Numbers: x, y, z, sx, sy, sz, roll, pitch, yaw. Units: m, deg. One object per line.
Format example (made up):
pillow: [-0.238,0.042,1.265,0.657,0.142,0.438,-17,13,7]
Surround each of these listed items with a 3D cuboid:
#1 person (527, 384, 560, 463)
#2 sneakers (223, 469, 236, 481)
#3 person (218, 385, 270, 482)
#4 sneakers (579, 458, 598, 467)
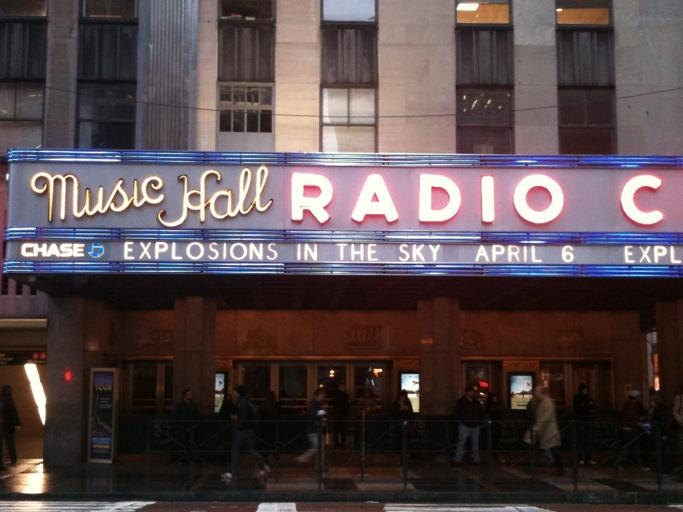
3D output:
person: [5.202,4.378,27.240,1.111,2.371,1.033,1,-30,13]
sneakers: [-2.715,5.279,25.343,0.247,0.153,0.199,0,-32,8]
person: [-2.484,4.370,25.987,1.090,2.316,1.303,1,-7,-18]
sneakers: [5.957,5.001,25.464,0.416,0.136,0.113,-2,-7,3]
